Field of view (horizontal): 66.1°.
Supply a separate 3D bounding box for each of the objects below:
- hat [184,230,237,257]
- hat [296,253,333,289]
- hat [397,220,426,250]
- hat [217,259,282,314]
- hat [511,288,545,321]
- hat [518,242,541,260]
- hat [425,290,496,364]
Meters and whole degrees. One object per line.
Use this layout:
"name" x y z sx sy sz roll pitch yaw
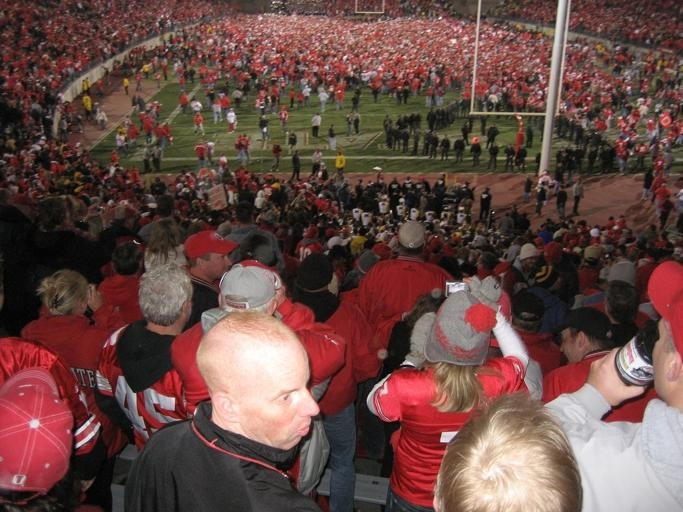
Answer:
"hat" -0.989 -0.092 3.891 0.328 0.119 0.200 -5 16 -13
"hat" -0.168 0.110 3.428 0.185 0.175 0.238 17 47 15
"hat" 0.573 -0.170 4.297 0.194 0.204 0.274 6 19 12
"hat" -0.442 0.159 2.493 0.195 0.140 0.258 10 36 4
"hat" 1.140 0.302 3.217 0.188 0.160 0.187 7 20 15
"hat" 2.191 -0.051 6.178 0.244 0.190 0.264 -6 20 -21
"hat" 0.503 0.326 2.233 0.258 0.099 0.317 14 61 19
